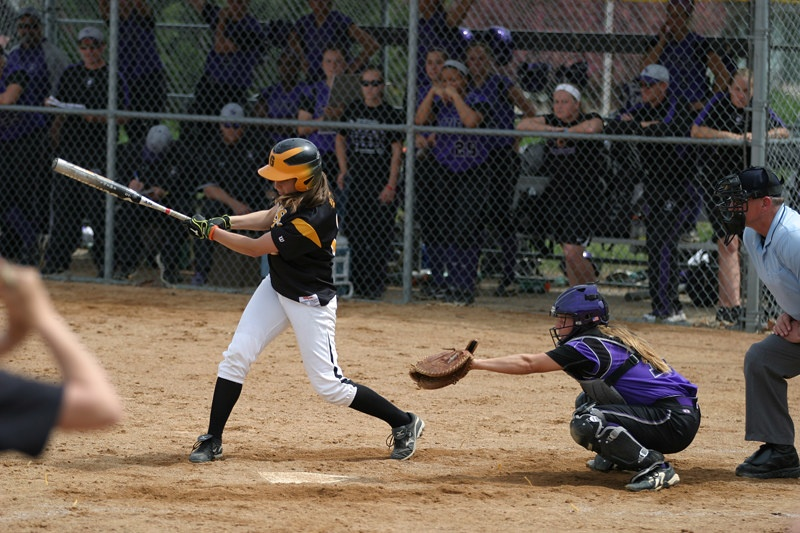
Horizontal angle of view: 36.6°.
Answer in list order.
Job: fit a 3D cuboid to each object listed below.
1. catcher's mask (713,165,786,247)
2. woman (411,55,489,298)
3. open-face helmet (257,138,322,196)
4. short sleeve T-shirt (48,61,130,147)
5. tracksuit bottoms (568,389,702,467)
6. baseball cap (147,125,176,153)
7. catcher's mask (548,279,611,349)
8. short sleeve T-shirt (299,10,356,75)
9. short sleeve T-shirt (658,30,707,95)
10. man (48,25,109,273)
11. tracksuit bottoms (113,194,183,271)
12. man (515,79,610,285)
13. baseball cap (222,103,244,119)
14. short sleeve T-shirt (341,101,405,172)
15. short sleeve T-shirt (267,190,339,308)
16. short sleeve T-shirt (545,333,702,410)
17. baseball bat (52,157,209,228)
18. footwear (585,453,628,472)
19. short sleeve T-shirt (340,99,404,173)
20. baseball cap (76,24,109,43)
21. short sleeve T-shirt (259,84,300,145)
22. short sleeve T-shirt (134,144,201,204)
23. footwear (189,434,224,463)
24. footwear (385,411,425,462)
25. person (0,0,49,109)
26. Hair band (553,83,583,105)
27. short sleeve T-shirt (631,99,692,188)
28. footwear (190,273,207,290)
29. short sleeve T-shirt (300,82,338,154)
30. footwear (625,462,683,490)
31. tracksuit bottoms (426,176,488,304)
[{"bbox_3d":[2.988,-0.536,10.341,0.610,0.642,0.492,1,3,1],"label":"catcher's mask"},{"bbox_3d":[0.627,-1.052,14.285,1.023,2.808,0.940,8,9,34],"label":"woman"},{"bbox_3d":[-0.922,-0.893,10.235,0.604,0.380,0.409,-8,28,-25],"label":"open-face helmet"},{"bbox_3d":[-3.807,-2.038,14.747,1.155,1.194,0.663,-1,3,-10],"label":"short sleeve T-shirt"},{"bbox_3d":[1.947,1.346,10.005,0.789,0.424,0.646,-17,-3,15],"label":"tracksuit bottoms"},{"bbox_3d":[-2.923,-1.570,14.760,0.266,0.341,0.258,31,20,-9],"label":"baseball cap"},{"bbox_3d":[1.581,0.382,10.165,0.516,0.488,0.398,-6,3,26],"label":"catcher's mask"},{"bbox_3d":[-0.865,-2.685,14.379,0.786,0.781,0.450,-3,7,-1],"label":"short sleeve T-shirt"},{"bbox_3d":[3.234,-2.316,13.721,0.536,0.625,0.330,-32,-1,10],"label":"short sleeve T-shirt"},{"bbox_3d":[-4.095,-1.882,15.212,0.712,2.161,0.621,10,30,-19],"label":"man"},{"bbox_3d":[-3.056,-0.458,14.522,0.977,0.791,0.028,-4,13,-18],"label":"tracksuit bottoms"},{"bbox_3d":[1.932,-0.959,13.937,0.869,2.314,0.608,3,0,4],"label":"man"},{"bbox_3d":[-2.006,-1.891,14.513,0.274,0.175,0.284,3,0,-14],"label":"baseball cap"},{"bbox_3d":[-0.341,-1.572,14.248,0.868,0.864,0.478,1,5,-3],"label":"short sleeve T-shirt"},{"bbox_3d":[-0.823,-0.202,10.461,0.585,0.902,0.996,5,8,-4],"label":"short sleeve T-shirt"},{"bbox_3d":[1.897,0.733,10.112,0.966,0.330,0.686,22,-1,-6],"label":"short sleeve T-shirt"},{"bbox_3d":[-2.503,-0.703,11.151,1.583,0.155,0.164,21,-38,-39],"label":"baseball bat"},{"bbox_3d":[1.757,1.695,10.341,0.219,0.088,0.168,14,-2,2],"label":"footwear"},{"bbox_3d":[-0.355,-1.573,14.250,0.808,0.874,0.315,6,35,0],"label":"short sleeve T-shirt"},{"bbox_3d":[-3.741,-2.842,14.726,0.304,0.201,0.226,3,0,-19],"label":"baseball cap"},{"bbox_3d":[-1.460,-1.852,14.557,0.455,0.767,0.267,3,0,38],"label":"short sleeve T-shirt"},{"bbox_3d":[-2.784,-1.141,14.606,0.917,0.753,0.021,11,-5,2],"label":"short sleeve T-shirt"},{"bbox_3d":[-1.639,1.545,10.262,0.155,0.143,0.334,0,-7,15],"label":"footwear"},{"bbox_3d":[0.043,1.507,10.517,0.266,0.498,0.191,6,6,-22],"label":"footwear"},{"bbox_3d":[-4.550,-2.600,14.846,0.545,1.203,0.205,3,0,-10],"label":"person"},{"bbox_3d":[1.923,-1.981,13.773,0.232,0.082,0.235,34,20,25],"label":"Hair band"},{"bbox_3d":[2.984,-1.452,13.662,0.732,1.072,0.313,3,0,12],"label":"short sleeve T-shirt"},{"bbox_3d":[-2.509,0.192,15.122,0.194,0.056,0.176,-6,43,-22],"label":"footwear"},{"bbox_3d":[-0.981,-1.806,14.435,0.263,0.738,0.760,4,8,-20],"label":"short sleeve T-shirt"},{"bbox_3d":[2.110,1.732,10.053,0.500,0.214,0.176,-12,2,-17],"label":"footwear"},{"bbox_3d":[0.638,-0.527,14.408,0.737,1.758,0.211,4,-3,44],"label":"tracksuit bottoms"}]
